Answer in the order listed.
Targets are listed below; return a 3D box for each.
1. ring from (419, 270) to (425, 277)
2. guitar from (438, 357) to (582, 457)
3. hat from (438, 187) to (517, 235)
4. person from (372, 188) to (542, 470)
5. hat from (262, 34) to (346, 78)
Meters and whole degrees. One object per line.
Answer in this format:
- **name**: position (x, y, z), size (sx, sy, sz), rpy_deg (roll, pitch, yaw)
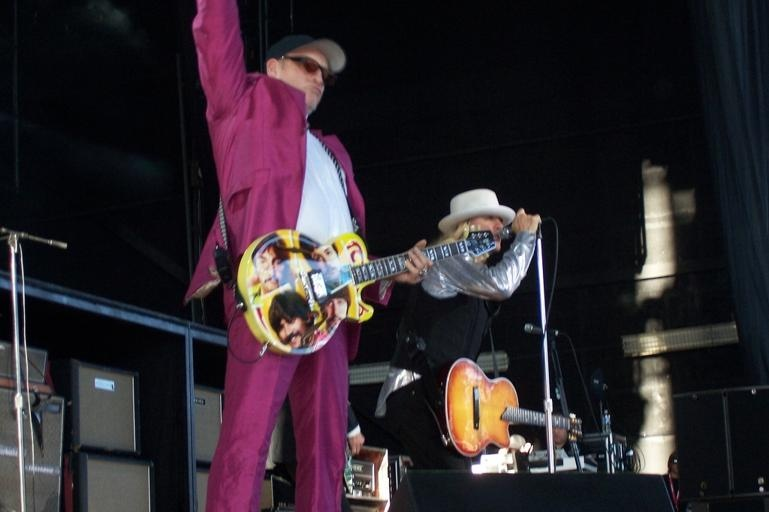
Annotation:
- **ring**: position (0.213, 0.107, 7.336), size (0.024, 0.010, 0.037), rpy_deg (5, -27, -14)
- **guitar**: position (0.893, 1.097, 8.665), size (1.163, 0.649, 0.182), rpy_deg (11, -24, -25)
- **hat**: position (0.630, -0.352, 9.035), size (0.525, 0.234, 0.586), rpy_deg (-7, -5, -42)
- **person**: position (0.387, 0.467, 8.375), size (0.463, 1.973, 0.912), rpy_deg (6, -20, 41)
- **hat**: position (-0.439, -1.206, 7.497), size (0.355, 0.125, 0.265), rpy_deg (0, -4, -11)
